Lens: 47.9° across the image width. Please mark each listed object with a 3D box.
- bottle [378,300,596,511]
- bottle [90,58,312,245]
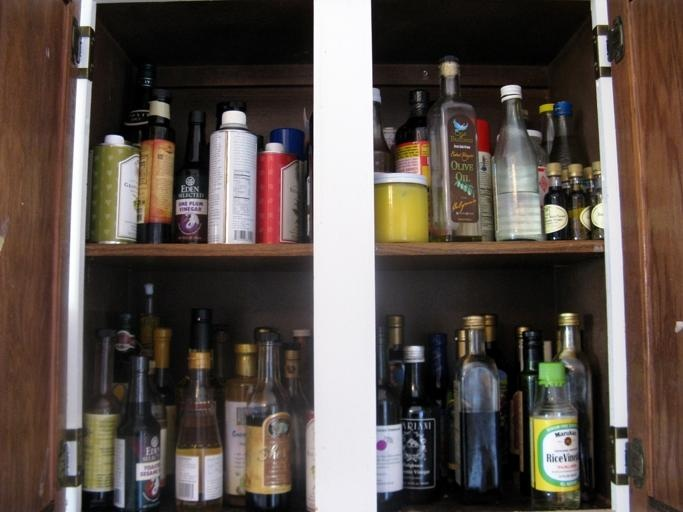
[{"bbox_3d":[0.274,0.297,1.436,0.355,0.486,0.140,0,-7,-3],"label":"bottle"},{"bbox_3d":[-0.260,-0.213,1.537,0.402,0.430,0.292,0,-8,-3],"label":"bottle"}]
